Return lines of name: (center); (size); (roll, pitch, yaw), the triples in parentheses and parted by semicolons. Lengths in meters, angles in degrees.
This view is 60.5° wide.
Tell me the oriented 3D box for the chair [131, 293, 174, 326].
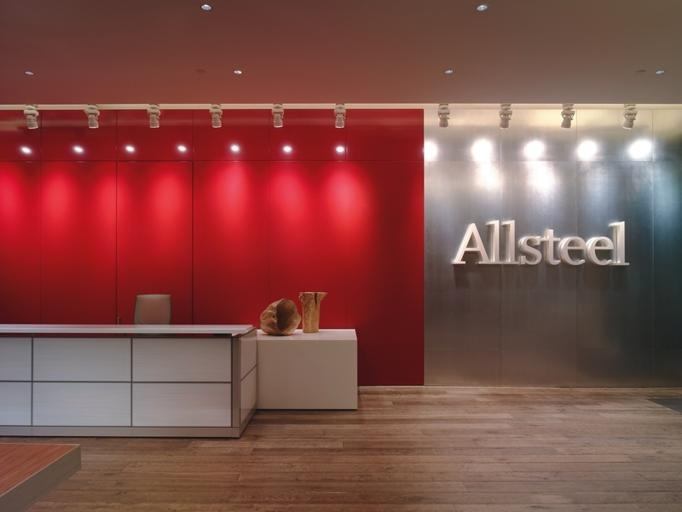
chair: (-2.261, 0.646, 7.230); (0.347, 0.516, 0.390); (1, -5, -5)
